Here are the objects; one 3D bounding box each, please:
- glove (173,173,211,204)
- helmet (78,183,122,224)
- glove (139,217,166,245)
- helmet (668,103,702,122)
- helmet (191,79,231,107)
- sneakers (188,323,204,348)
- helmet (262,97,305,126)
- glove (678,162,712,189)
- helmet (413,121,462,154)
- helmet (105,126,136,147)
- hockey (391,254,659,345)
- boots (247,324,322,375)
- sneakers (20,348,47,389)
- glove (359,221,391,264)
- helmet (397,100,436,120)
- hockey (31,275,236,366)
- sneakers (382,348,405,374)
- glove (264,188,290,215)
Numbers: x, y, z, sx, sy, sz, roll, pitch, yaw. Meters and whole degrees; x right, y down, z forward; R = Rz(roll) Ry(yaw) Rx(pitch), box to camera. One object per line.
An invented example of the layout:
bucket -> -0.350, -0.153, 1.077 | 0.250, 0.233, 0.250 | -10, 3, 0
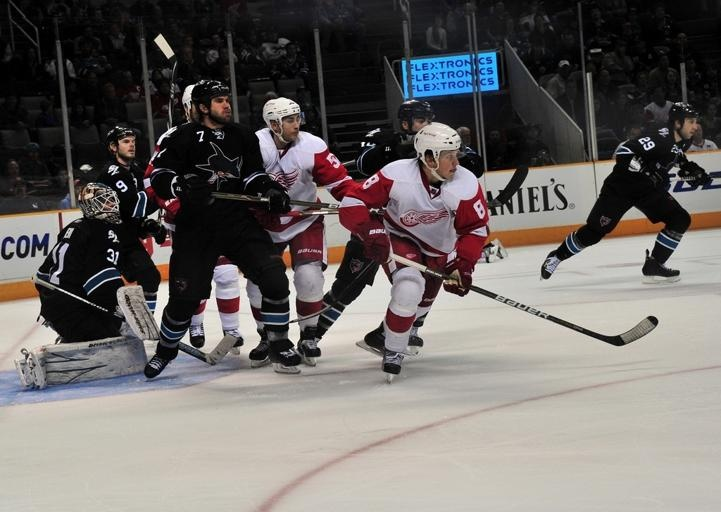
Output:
glove -> -0.987, -0.381, 4.794 | 0.209, 0.183, 0.119 | -7, 14, -8
helmet -> -1.720, -0.327, 5.340 | 0.211, 0.292, 0.351 | -4, 13, 8
glove -> -1.582, -0.182, 6.180 | 0.192, 0.221, 0.199 | -8, 13, -12
helmet -> 2.872, -1.262, 7.209 | 0.207, 0.147, 0.207 | 1, 13, 22
helmet -> -0.912, -0.989, 4.968 | 0.212, 0.153, 0.149 | -6, 21, -3
sneakers -> -1.201, 0.580, 5.957 | 0.085, 0.213, 0.097 | -9, -17, -16
helmet -> -0.488, -0.928, 5.257 | 0.239, 0.173, 0.155 | -2, 25, 4
glove -> 3.245, -0.783, 7.828 | 0.253, 0.282, 0.521 | 0, 13, 22
helmet -> 0.471, -0.695, 4.790 | 0.275, 0.204, 0.177 | 3, 21, 10
helmet -> -1.859, -0.919, 6.243 | 0.204, 0.122, 0.259 | -7, 12, -15
hockey -> 1.236, 0.336, 5.972 | 1.614, 0.151, 0.208 | 16, -16, 21
boots -> -0.486, 0.592, 5.200 | 0.344, 0.210, 0.390 | -3, 1, -43
sneakers -> -2.052, 0.698, 5.052 | 0.122, 0.234, 0.198 | -16, 17, -36
glove -> 0.101, -0.087, 4.748 | 0.192, 0.105, 0.226 | 18, 38, -38
helmet -> 0.397, -1.013, 5.731 | 0.217, 0.158, 0.163 | -1, 8, 19
hockey -> -1.469, 0.421, 5.285 | 1.148, 0.162, 0.186 | 23, -22, 7
sneakers -> 0.197, 0.618, 4.763 | 0.077, 0.076, 0.201 | 18, 11, -5
glove -> -0.501, -0.335, 4.967 | 0.139, 0.157, 0.089 | -9, 14, -18
